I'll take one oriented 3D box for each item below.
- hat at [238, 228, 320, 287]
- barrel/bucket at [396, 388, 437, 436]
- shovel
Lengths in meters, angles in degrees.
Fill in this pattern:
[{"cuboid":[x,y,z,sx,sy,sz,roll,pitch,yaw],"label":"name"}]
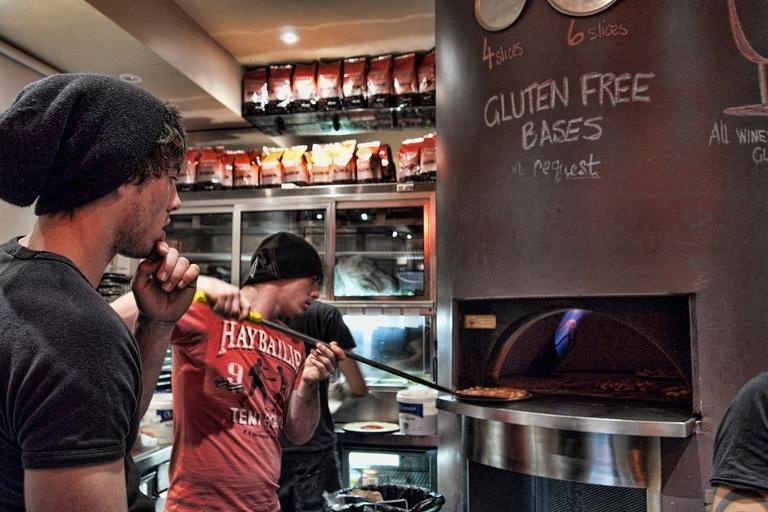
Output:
[{"cuboid":[-0.481,0.000,2.810,0.367,0.227,0.254,-5,-8,-2],"label":"hat"},{"cuboid":[0.220,0.987,3.785,0.305,0.264,0.301,1,-11,0],"label":"barrel/bucket"},{"cuboid":[-0.160,0.388,2.396,1.417,0.107,0.464,22,-21,-32],"label":"shovel"}]
